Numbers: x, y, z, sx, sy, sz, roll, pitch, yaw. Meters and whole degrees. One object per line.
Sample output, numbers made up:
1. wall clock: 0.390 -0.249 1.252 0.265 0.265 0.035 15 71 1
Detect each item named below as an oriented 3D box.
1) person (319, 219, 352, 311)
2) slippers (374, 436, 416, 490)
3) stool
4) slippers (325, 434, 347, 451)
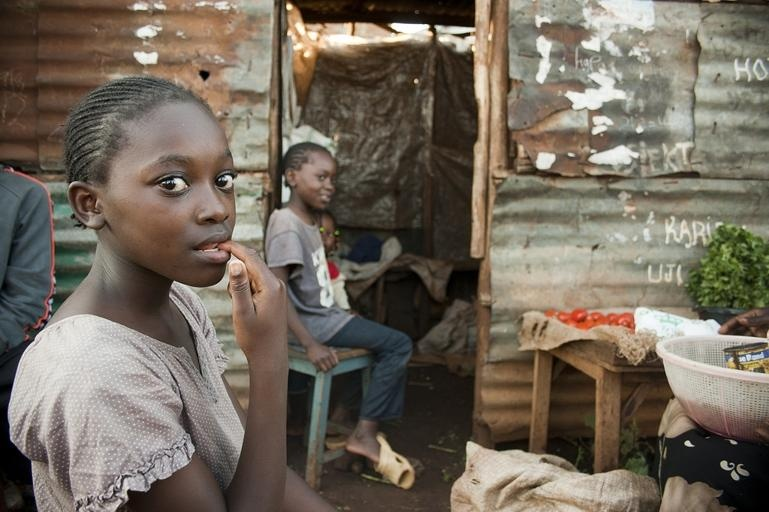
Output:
1. person: -0.460 0.006 7.783 0.395 1.106 0.344 3 20 8
2. slippers: 0.109 1.531 5.733 0.404 0.426 0.297 2 -19 0
3. stool: -0.390 1.096 5.658 0.606 0.627 0.955 -3 29 -6
4. slippers: -0.354 1.399 5.889 0.152 0.042 0.145 0 6 -9
